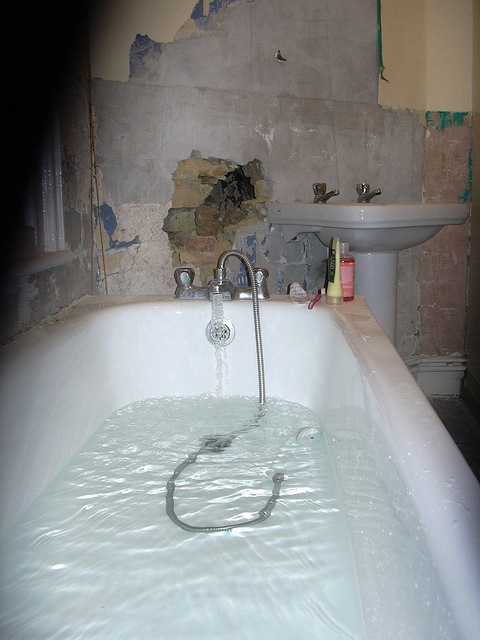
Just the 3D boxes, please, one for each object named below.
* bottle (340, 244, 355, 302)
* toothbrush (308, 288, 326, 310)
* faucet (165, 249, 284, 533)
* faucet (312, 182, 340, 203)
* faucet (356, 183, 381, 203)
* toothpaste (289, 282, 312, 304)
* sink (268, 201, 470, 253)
[{"bbox_3d":[0.324,-0.144,1.373,0.050,0.174,0.058,-5,18,6],"label":"bottle"},{"bbox_3d":[0.235,-0.065,1.396,0.036,0.022,0.245,4,23,14],"label":"toothbrush"},{"bbox_3d":[-0.043,0.142,1.104,0.188,0.274,0.679,1,46,-3],"label":"faucet"},{"bbox_3d":[0.323,-0.491,1.747,0.048,0.108,0.144,-4,16,-10],"label":"faucet"},{"bbox_3d":[0.486,-0.475,1.701,0.044,0.076,0.100,-2,14,-4],"label":"faucet"},{"bbox_3d":[0.183,-0.072,1.301,0.028,0.046,0.108,-6,7,2],"label":"toothpaste"},{"bbox_3d":[0.461,-0.337,1.619,0.725,0.178,0.425,1,11,6],"label":"sink"}]
